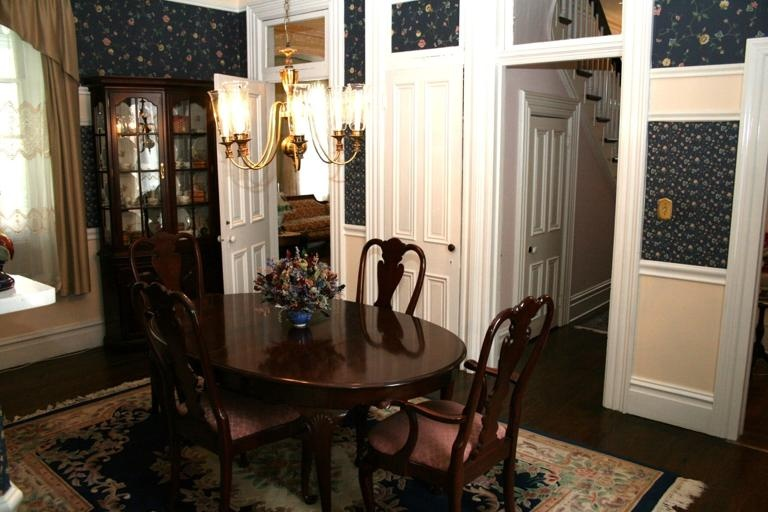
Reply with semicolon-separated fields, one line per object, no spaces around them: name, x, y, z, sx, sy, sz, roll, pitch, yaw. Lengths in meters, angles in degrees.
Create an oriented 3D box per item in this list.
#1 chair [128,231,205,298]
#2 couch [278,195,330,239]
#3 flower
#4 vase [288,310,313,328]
chair;-1.948;0.064;5.041;0.473;0.805;0.533;-10;19;-38
couch;-1.365;-0.656;9.887;0.799;0.550;2.000;-3;16;-4
flower;-0.581;0.212;4.076;0.555;0.504;0.555;1;0;-6
vase;-0.583;0.429;3.992;0.135;0.098;0.133;0;3;33
